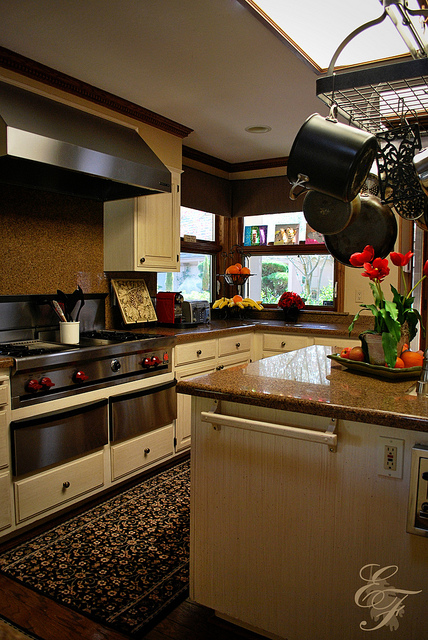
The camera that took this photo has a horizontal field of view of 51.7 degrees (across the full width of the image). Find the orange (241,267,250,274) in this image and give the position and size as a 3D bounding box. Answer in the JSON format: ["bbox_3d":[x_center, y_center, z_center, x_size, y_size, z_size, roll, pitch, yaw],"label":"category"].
[{"bbox_3d":[0.308,-0.482,4.318,0.067,0.059,0.058,-21,-30,-14],"label":"orange"}]

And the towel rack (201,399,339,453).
[{"bbox_3d":[0.136,0.290,1.208,0.417,0.115,0.111,1,0,36],"label":"towel rack"}]

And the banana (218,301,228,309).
[{"bbox_3d":[0.084,-0.148,4.276,0.078,0.064,0.078,1,0,37],"label":"banana"}]

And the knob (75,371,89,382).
[{"bbox_3d":[-0.664,0.280,2.221,0.042,0.047,0.044,1,0,22],"label":"knob"}]

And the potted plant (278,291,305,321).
[{"bbox_3d":[0.704,-0.119,4.108,0.230,0.264,0.226,-1,4,0],"label":"potted plant"}]

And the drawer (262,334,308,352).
[{"bbox_3d":[0.588,0.194,3.736,0.420,0.139,0.052,1,0,38],"label":"drawer"}]

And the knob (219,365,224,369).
[{"bbox_3d":[0.056,0.360,3.427,0.023,0.025,0.006,6,9,25],"label":"knob"}]

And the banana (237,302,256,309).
[{"bbox_3d":[0.307,-0.146,4.306,0.191,0.054,0.105,0,0,-37],"label":"banana"}]

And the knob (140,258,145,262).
[{"bbox_3d":[-0.481,-0.408,2.990,0.019,0.021,0.022,-11,-4,-8],"label":"knob"}]

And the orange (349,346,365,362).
[{"bbox_3d":[0.518,0.122,1.607,0.045,0.058,0.046,7,-2,-28],"label":"orange"}]

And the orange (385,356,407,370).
[{"bbox_3d":[0.609,0.145,1.474,0.046,0.062,0.049,0,6,10],"label":"orange"}]

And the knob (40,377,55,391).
[{"bbox_3d":[-0.771,0.299,2.048,0.046,0.042,0.038,2,5,21],"label":"knob"}]

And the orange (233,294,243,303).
[{"bbox_3d":[0.229,-0.210,4.299,0.068,0.086,0.071,10,11,20],"label":"orange"}]

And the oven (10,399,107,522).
[{"bbox_3d":[-0.838,0.664,2.283,0.514,0.517,0.333,-7,14,-44],"label":"oven"}]

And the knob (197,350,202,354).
[{"bbox_3d":[-0.108,0.227,3.175,0.030,0.033,0.009,-12,-1,17],"label":"knob"}]

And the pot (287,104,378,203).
[{"bbox_3d":[0.252,-0.361,0.941,0.181,0.203,0.118,1,0,21],"label":"pot"}]

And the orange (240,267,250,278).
[{"bbox_3d":[0.300,-0.483,4.342,0.086,0.077,0.081,1,0,4],"label":"orange"}]

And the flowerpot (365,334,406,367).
[{"bbox_3d":[0.570,0.094,1.459,0.101,0.113,0.127,1,2,14],"label":"flowerpot"}]

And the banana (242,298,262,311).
[{"bbox_3d":[0.374,-0.156,4.404,0.215,0.068,0.044,25,3,-17],"label":"banana"}]

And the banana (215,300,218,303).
[{"bbox_3d":[0.025,-0.190,4.420,0.022,0.026,0.009,-4,-27,45],"label":"banana"}]

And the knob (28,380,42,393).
[{"bbox_3d":[-0.812,0.296,2.005,0.017,0.040,0.068,1,0,23],"label":"knob"}]

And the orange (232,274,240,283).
[{"bbox_3d":[0.225,-0.416,4.363,0.062,0.056,0.070,0,-4,-2],"label":"orange"}]

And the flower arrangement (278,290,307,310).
[{"bbox_3d":[0.736,-0.190,4.171,0.169,0.162,0.177,0,2,-12],"label":"flower arrangement"}]

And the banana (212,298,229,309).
[{"bbox_3d":[0.059,-0.162,4.311,0.158,0.089,0.116,1,0,0],"label":"banana"}]

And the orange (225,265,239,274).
[{"bbox_3d":[0.180,-0.492,4.363,0.089,0.108,0.090,30,38,28],"label":"orange"}]

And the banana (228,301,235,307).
[{"bbox_3d":[0.167,-0.164,4.285,0.044,0.032,0.081,26,10,11],"label":"banana"}]

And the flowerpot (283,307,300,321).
[{"bbox_3d":[0.721,-0.057,4.095,0.115,0.103,0.122,1,-2,-40],"label":"flowerpot"}]
